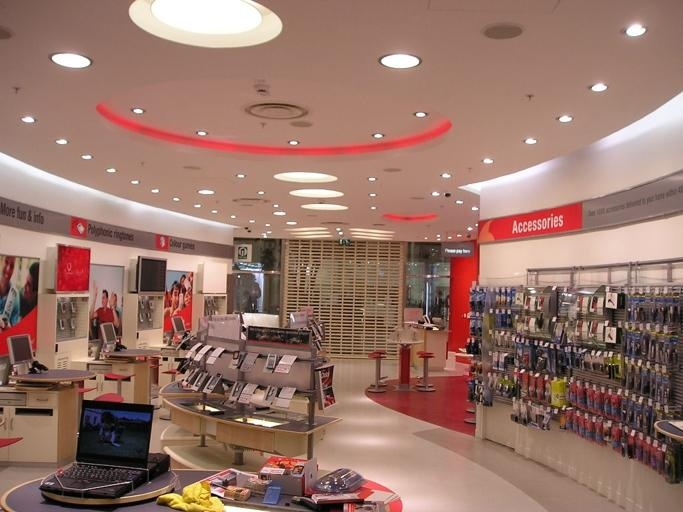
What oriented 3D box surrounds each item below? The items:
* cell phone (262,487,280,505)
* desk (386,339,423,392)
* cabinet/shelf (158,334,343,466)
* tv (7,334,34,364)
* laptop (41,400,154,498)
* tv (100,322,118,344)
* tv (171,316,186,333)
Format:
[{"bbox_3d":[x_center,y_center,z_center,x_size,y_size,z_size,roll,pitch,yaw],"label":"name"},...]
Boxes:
[{"bbox_3d":[-0.484,1.652,3.357,0.077,0.024,0.106,4,28,8],"label":"cell phone"},{"bbox_3d":[1.657,2.888,13.400,1.344,1.581,1.312,0,-7,-2],"label":"desk"},{"bbox_3d":[-1.111,1.605,5.485,2.091,1.310,0.782,-2,-6,42],"label":"cabinet/shelf"},{"bbox_3d":[-4.589,1.339,6.931,0.090,0.483,0.522,-19,-10,8],"label":"tv"},{"bbox_3d":[-1.636,1.374,3.389,0.632,0.461,0.600,1,1,15],"label":"laptop"},{"bbox_3d":[-4.782,1.578,9.932,0.140,0.365,0.377,-21,-12,16],"label":"tv"},{"bbox_3d":[-4.183,1.756,12.411,0.061,0.416,0.445,-27,-15,17],"label":"tv"}]
